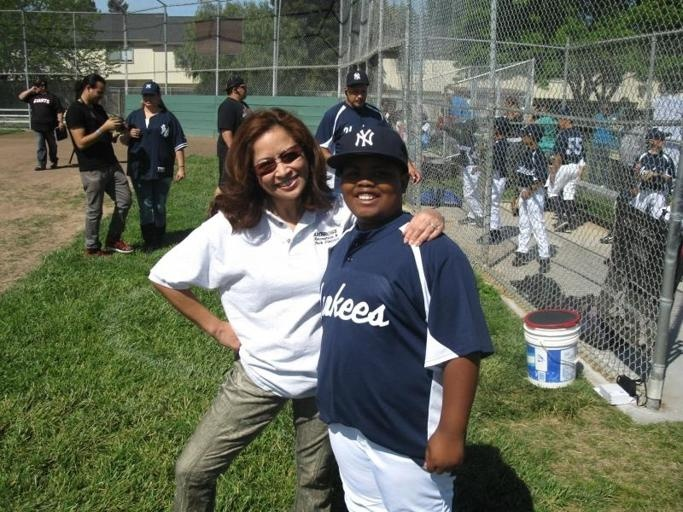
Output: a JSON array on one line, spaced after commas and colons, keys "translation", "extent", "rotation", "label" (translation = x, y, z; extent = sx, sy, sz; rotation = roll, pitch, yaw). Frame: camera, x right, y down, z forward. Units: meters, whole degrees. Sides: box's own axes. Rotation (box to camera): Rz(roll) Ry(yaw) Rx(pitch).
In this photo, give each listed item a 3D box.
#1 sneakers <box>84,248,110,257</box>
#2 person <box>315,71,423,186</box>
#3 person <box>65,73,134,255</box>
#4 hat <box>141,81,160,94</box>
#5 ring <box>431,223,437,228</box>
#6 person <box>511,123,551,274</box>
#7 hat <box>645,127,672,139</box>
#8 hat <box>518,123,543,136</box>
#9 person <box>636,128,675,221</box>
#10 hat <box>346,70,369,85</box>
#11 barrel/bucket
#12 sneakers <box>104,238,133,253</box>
[{"translation": [-3.322, -0.037, 8.238], "extent": [0.121, 0.172, 0.370], "rotation": [-1, -8, 11], "label": "sneakers"}, {"translation": [0.265, -1.408, 7.515], "extent": [1.145, 1.773, 0.939], "rotation": [-3, 9, -5], "label": "person"}, {"translation": [-3.279, -1.233, 8.220], "extent": [0.725, 2.363, 0.817], "rotation": [-7, 15, -26], "label": "person"}, {"translation": [-2.624, -2.313, 8.359], "extent": [0.169, 0.159, 0.272], "rotation": [3, 21, -6], "label": "hat"}, {"translation": [0.452, -0.147, 2.970], "extent": [0.022, 0.025, 0.007], "rotation": [-2, -12, 28], "label": "ring"}, {"translation": [2.769, -0.946, 8.714], "extent": [0.528, 1.820, 1.526], "rotation": [3, 15, 15], "label": "person"}, {"translation": [3.583, -1.388, 6.853], "extent": [0.222, 0.158, 0.363], "rotation": [6, 15, 41], "label": "hat"}, {"translation": [2.785, -1.811, 8.774], "extent": [0.386, 0.202, 0.185], "rotation": [-8, 17, -26], "label": "hat"}, {"translation": [3.124, -0.809, 6.040], "extent": [0.353, 0.637, 1.242], "rotation": [7, 18, 25], "label": "person"}, {"translation": [0.190, -2.202, 7.559], "extent": [0.261, 0.171, 0.531], "rotation": [0, 17, 0], "label": "hat"}, {"translation": [1.900, 0.782, 5.542], "extent": [0.510, 0.635, 0.582], "rotation": [4, 12, 27], "label": "barrel/bucket"}, {"translation": [-3.064, -0.148, 8.394], "extent": [0.369, 0.190, 0.177], "rotation": [2, 8, 1], "label": "sneakers"}]
